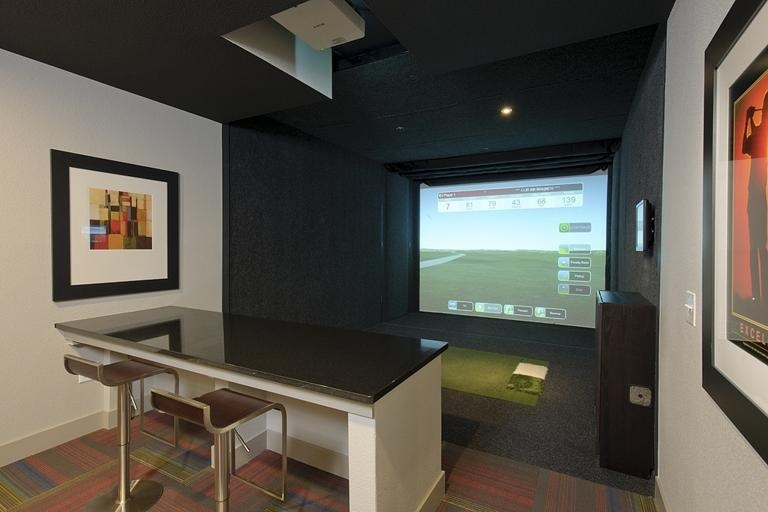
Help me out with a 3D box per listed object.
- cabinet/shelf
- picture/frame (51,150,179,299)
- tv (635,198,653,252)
[{"bbox_3d":[1.822,1.000,3.708,0.478,1.328,1.451,1,2,22],"label":"cabinet/shelf"},{"bbox_3d":[-2.436,-0.267,4.399,0.924,1.244,0.176,-4,6,-38],"label":"picture/frame"},{"bbox_3d":[2.064,-0.241,3.932,0.071,0.602,0.484,0,-1,22],"label":"tv"}]
